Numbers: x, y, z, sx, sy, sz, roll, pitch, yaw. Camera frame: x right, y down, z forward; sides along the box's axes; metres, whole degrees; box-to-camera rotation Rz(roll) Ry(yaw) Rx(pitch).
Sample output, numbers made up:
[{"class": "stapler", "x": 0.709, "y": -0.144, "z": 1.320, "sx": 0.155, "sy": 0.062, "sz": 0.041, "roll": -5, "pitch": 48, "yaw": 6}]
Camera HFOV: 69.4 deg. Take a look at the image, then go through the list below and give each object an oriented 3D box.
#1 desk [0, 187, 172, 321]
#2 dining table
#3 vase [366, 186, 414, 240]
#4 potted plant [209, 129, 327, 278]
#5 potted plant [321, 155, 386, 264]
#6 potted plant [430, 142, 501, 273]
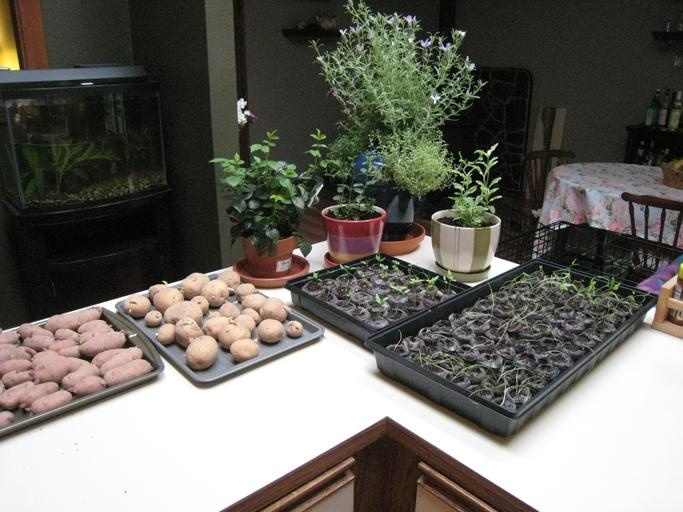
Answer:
[{"class": "desk", "x": -1.239, "y": -0.016, "z": 2.307, "sx": 0.340, "sy": 0.656, "sz": 0.408, "roll": 25, "pitch": 41, "yaw": 33}, {"class": "dining table", "x": 1.761, "y": -0.336, "z": 3.286, "sx": 0.905, "sy": 0.494, "sz": 0.888, "roll": -5, "pitch": 18, "yaw": -14}, {"class": "vase", "x": 0.164, "y": -0.157, "z": 1.724, "sx": 0.159, "sy": 0.144, "sz": 0.169, "roll": 3, "pitch": 19, "yaw": 0}, {"class": "potted plant", "x": -0.233, "y": -0.128, "z": 1.546, "sx": 0.299, "sy": 0.316, "sz": 0.252, "roll": -7, "pitch": 18, "yaw": 36}, {"class": "potted plant", "x": 0.065, "y": -0.112, "z": 1.640, "sx": 0.212, "sy": 0.339, "sz": 0.217, "roll": -13, "pitch": 35, "yaw": -28}, {"class": "potted plant", "x": 0.423, "y": -0.129, "z": 1.588, "sx": 0.219, "sy": 0.400, "sz": 0.222, "roll": 2, "pitch": 12, "yaw": 13}]
